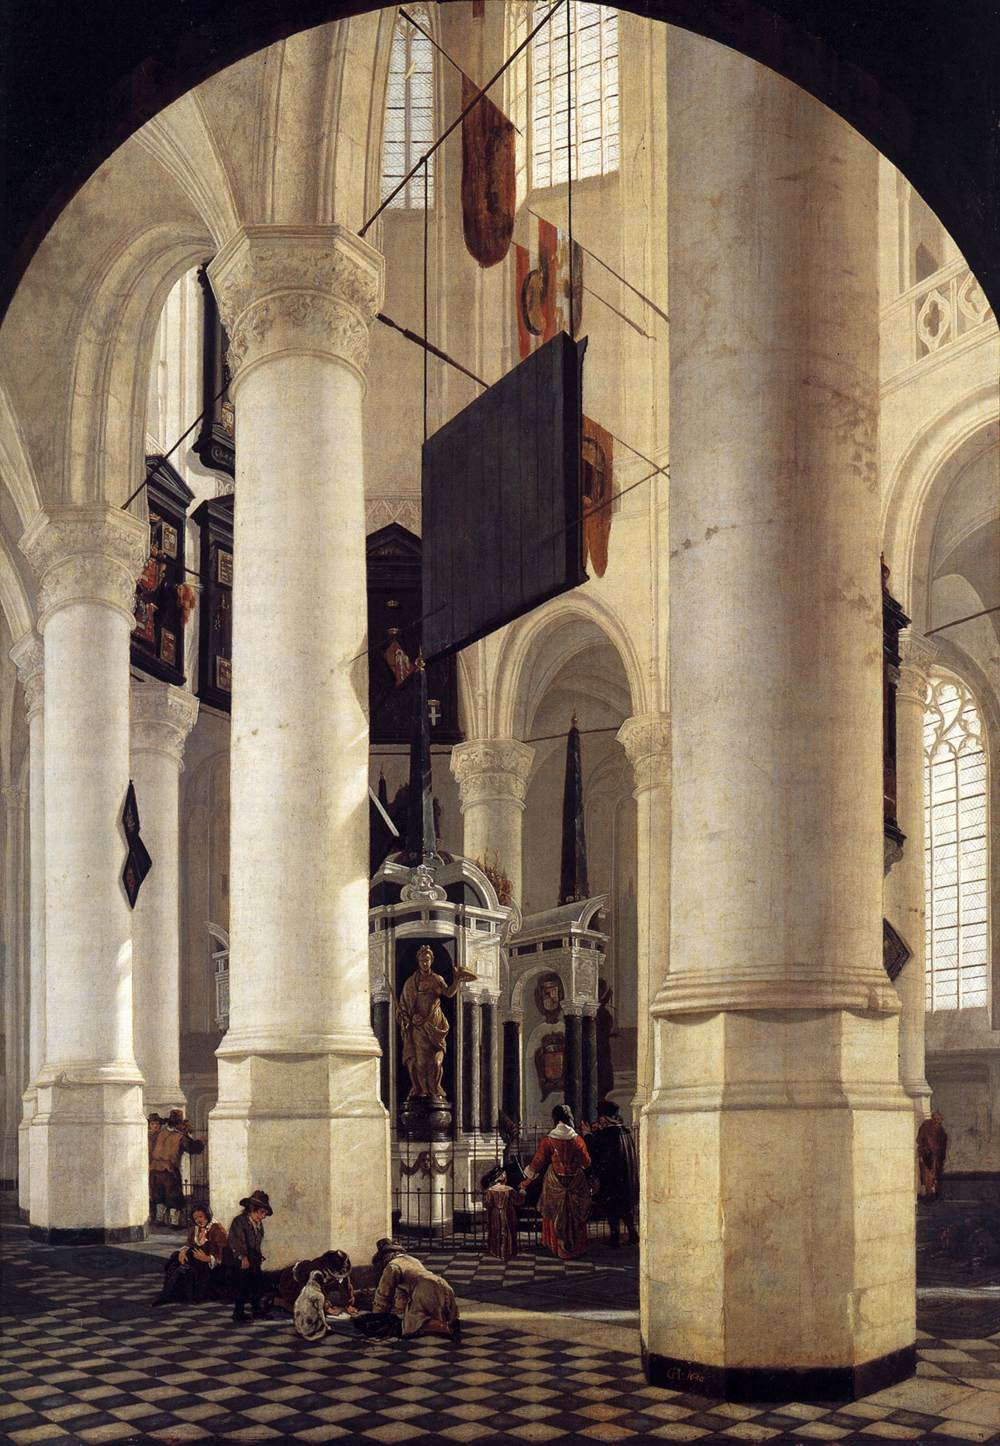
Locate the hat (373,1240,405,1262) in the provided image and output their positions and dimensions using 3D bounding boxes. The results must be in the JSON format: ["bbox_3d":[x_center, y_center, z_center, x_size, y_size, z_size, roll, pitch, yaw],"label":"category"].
[{"bbox_3d":[-0.637,2.949,19.674,0.172,0.151,0.338,-2,-12,-3],"label":"hat"}]

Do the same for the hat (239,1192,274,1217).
[{"bbox_3d":[-1.435,2.766,20.348,0.189,0.155,0.291,-2,-12,-4],"label":"hat"}]
